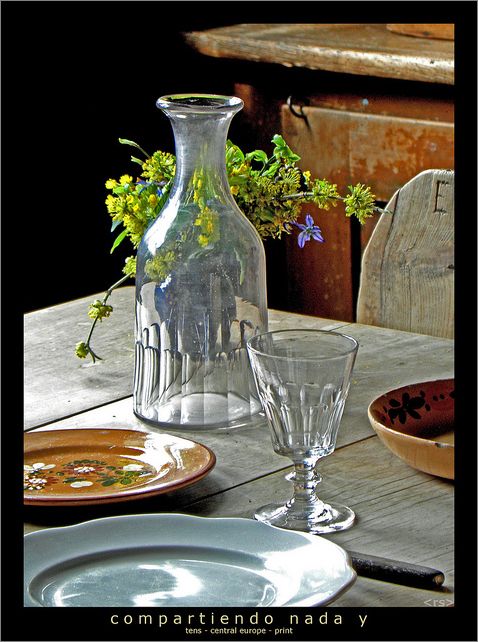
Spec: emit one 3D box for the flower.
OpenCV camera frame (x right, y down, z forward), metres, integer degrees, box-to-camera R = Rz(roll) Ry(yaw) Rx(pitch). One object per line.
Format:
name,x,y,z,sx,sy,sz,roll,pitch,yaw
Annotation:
flower,-0.046,-0.125,1.043,0.163,0.144,0.431,-5,1,-26

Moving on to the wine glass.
wine glass,0.048,0.079,0.661,0.085,0.125,0.150,1,14,5

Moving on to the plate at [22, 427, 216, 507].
plate,-0.102,0.119,0.712,0.153,0.026,0.189,-3,14,-13
